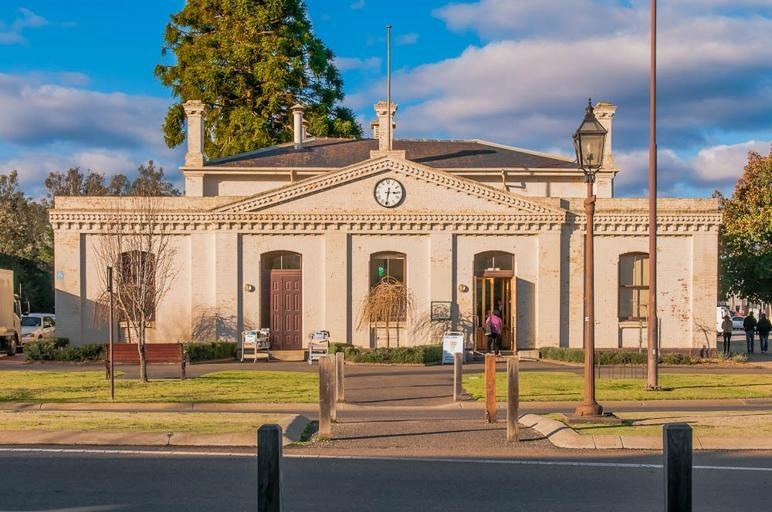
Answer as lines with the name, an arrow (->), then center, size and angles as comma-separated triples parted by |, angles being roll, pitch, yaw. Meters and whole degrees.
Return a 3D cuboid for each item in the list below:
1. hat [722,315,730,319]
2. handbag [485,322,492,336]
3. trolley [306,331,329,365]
hat -> 17.825, 3.198, 85.633 | 0.311, 0.256, 0.600 | -2, -4, 12
handbag -> 4.945, 3.517, 79.830 | 0.171, 0.538, 0.567 | 9, -8, -26
trolley -> -3.251, 4.216, 79.408 | 1.100, 1.173, 1.117 | -8, 15, -26
